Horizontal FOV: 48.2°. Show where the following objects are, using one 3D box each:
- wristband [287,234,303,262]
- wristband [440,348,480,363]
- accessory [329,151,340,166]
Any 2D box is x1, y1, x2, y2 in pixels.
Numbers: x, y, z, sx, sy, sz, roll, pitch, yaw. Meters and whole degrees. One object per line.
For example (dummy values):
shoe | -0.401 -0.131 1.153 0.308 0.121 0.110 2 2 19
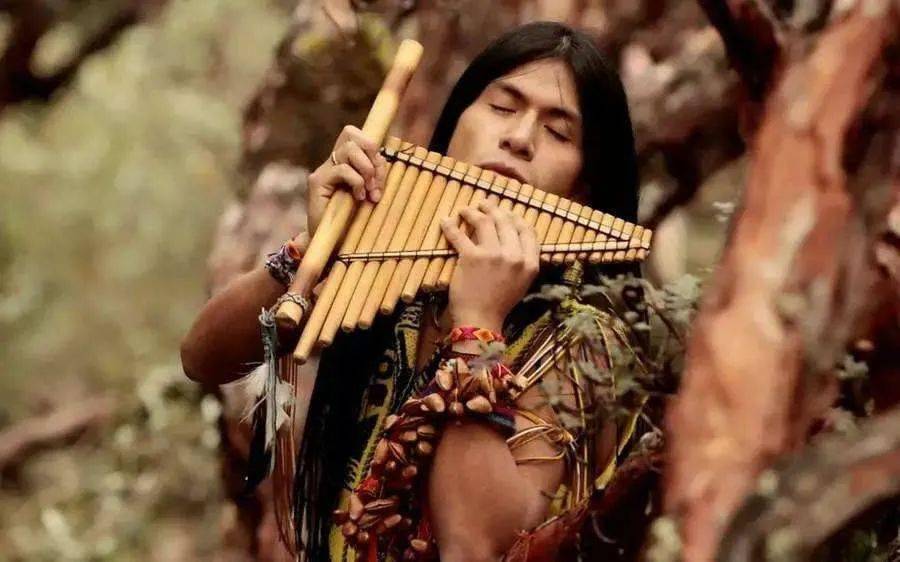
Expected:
wristband | -0.474 -0.101 3.032 0.056 0.075 0.030 2 10 30
wristband | 0.031 0.207 2.902 0.066 0.023 0.048 7 -4 39
accessory | -0.348 -0.373 3.032 0.018 0.045 0.045 -10 -20 2
